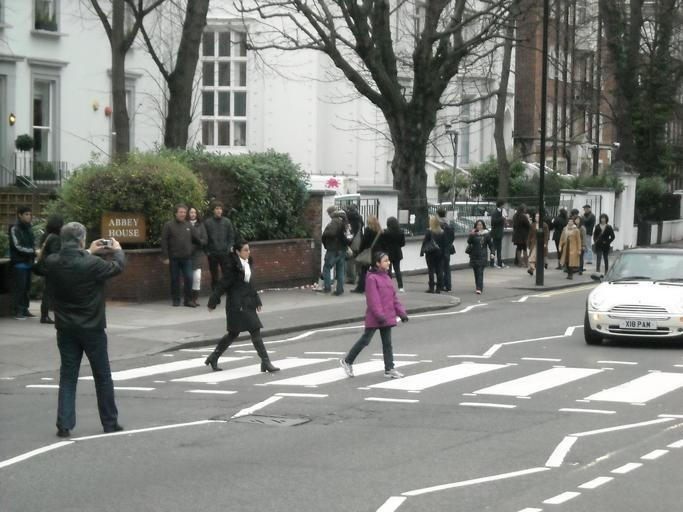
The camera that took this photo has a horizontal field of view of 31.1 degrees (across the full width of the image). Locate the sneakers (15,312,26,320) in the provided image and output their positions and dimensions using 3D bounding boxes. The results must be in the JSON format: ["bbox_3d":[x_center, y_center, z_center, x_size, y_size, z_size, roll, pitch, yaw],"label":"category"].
[{"bbox_3d":[-6.697,1.253,25.562,0.220,0.176,0.084,-5,-5,43],"label":"sneakers"}]

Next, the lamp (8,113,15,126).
[{"bbox_3d":[-10.063,-4.241,37.496,0.203,0.328,0.075,-1,5,-40],"label":"lamp"}]

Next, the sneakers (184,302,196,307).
[{"bbox_3d":[-3.408,1.080,27.623,0.236,0.112,0.092,0,3,33],"label":"sneakers"}]

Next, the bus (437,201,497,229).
[{"bbox_3d":[4.024,-1.533,41.830,1.180,0.910,2.196,0,6,-33],"label":"bus"}]

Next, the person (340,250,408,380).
[{"bbox_3d":[0.617,0.991,21.462,1.039,2.116,1.554,0,9,2],"label":"person"}]

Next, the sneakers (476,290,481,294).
[{"bbox_3d":[3.630,0.922,32.233,0.141,0.100,0.242,1,10,5],"label":"sneakers"}]

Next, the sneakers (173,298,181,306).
[{"bbox_3d":[-3.724,1.031,27.791,0.164,0.193,0.110,-1,6,-10],"label":"sneakers"}]

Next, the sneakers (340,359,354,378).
[{"bbox_3d":[0.123,1.937,21.098,0.173,0.416,0.130,-22,-4,24],"label":"sneakers"}]

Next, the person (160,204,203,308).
[{"bbox_3d":[-3.601,-0.038,27.590,0.907,2.302,0.512,-4,9,-24],"label":"person"}]

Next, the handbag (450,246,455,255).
[{"bbox_3d":[2.972,-0.182,32.781,0.146,0.288,0.269,0,2,27],"label":"handbag"}]

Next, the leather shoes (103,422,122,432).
[{"bbox_3d":[-3.333,2.512,17.909,0.280,0.135,0.113,-2,9,-10],"label":"leather shoes"}]

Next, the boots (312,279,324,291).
[{"bbox_3d":[-0.599,0.763,32.058,0.299,0.279,0.330,-15,-16,-7],"label":"boots"}]

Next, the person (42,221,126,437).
[{"bbox_3d":[-3.751,1.035,18.037,1.115,3.025,0.962,-2,9,-13],"label":"person"}]

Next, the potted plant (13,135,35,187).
[{"bbox_3d":[-9.733,-3.043,37.791,0.537,1.561,0.988,-2,9,-12],"label":"potted plant"}]

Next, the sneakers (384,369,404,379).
[{"bbox_3d":[0.899,2.018,20.963,0.325,0.175,0.132,-1,3,21],"label":"sneakers"}]

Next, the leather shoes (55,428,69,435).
[{"bbox_3d":[-4.018,2.561,17.755,0.199,0.118,0.159,-3,10,-15],"label":"leather shoes"}]

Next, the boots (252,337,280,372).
[{"bbox_3d":[-1.348,1.647,21.510,0.358,0.686,0.657,-7,11,-36],"label":"boots"}]

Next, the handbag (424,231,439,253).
[{"bbox_3d":[2.337,-0.368,31.484,0.457,0.691,0.227,1,3,16],"label":"handbag"}]
